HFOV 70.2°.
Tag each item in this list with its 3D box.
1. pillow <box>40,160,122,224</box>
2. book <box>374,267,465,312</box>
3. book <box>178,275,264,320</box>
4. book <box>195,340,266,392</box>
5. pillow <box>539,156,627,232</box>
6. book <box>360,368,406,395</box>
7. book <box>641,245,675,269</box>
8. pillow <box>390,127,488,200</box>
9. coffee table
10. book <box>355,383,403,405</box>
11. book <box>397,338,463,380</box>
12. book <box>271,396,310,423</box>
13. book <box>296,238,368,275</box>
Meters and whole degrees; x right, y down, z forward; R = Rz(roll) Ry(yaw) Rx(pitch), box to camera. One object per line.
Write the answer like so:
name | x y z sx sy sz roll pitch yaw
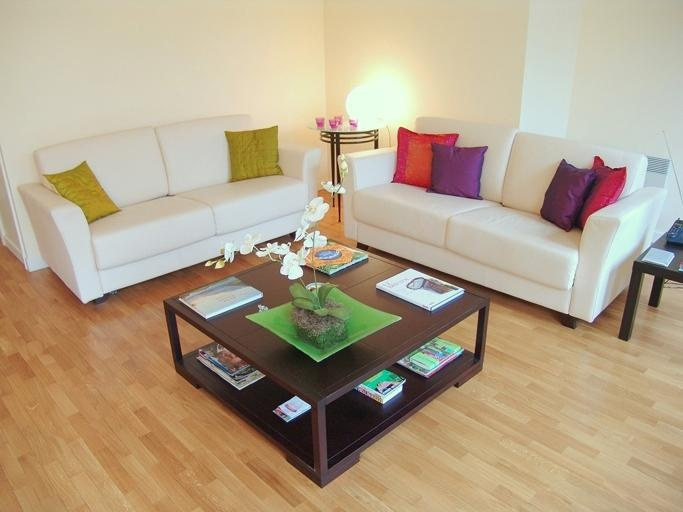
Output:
pillow | -1.928 -0.480 3.661 0.416 0.375 0.407 -25 35 -37
book | 0.447 0.192 2.781 0.370 0.042 0.407 25 29 31
book | -0.677 0.202 2.719 0.358 0.387 0.038 -19 63 2
book | -0.638 0.609 2.714 0.272 0.063 0.258 26 36 36
pillow | 1.577 -0.404 3.210 0.215 0.498 0.515 23 3 -34
book | 0.221 0.660 2.547 0.167 0.038 0.169 20 31 40
book | 1.929 0.006 2.954 0.145 0.017 0.239 20 33 37
pillow | 0.820 -0.748 3.947 0.614 0.353 0.190 16 16 33
coffee table | -0.214 0.502 2.558 1.162 0.457 1.193 -27 39 -37
book | 0.193 0.711 2.496 0.145 0.035 0.151 -19 29 -40
book | 0.504 0.562 2.793 0.349 0.047 0.252 -26 29 -34
book | -0.255 0.775 2.452 0.156 0.029 0.129 -24 33 -37
book | -0.058 0.012 2.926 0.233 0.025 0.248 -23 34 -40
